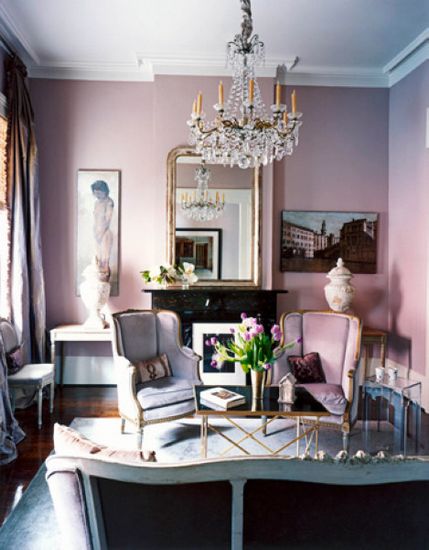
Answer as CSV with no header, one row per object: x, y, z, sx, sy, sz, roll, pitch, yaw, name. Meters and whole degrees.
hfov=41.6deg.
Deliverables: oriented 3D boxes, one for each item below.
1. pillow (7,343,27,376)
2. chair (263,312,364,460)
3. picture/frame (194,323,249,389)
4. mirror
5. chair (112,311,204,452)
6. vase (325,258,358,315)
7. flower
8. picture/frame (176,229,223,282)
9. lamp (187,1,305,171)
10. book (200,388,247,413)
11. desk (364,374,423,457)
-1.471,0.635,4.178,0.044,0.132,0.188,-12,6,-2,pillow
0.703,0.679,3.752,0.639,1.267,0.772,0,-6,17,chair
0.049,0.631,4.407,0.499,0.812,0.044,0,-1,1,picture/frame
0.012,-0.465,4.968,0.941,1.893,0.085,0,4,1,mirror
-0.465,0.729,4.021,0.618,1.300,0.731,2,-6,-31,chair
1.082,0.095,4.936,0.198,0.473,0.273,-2,5,-26,vase
0.254,0.455,3.503,0.443,0.405,0.416,0,-6,2,flower
-0.123,-0.200,5.107,0.343,0.547,0.046,0,1,0,picture/frame
0.198,-1.501,4.188,0.736,1.578,0.825,-5,12,-22,lamp
0.030,0.740,3.331,0.294,0.040,0.338,-6,8,-44,book
1.134,0.923,3.822,0.393,0.690,0.344,-2,2,-20,desk
